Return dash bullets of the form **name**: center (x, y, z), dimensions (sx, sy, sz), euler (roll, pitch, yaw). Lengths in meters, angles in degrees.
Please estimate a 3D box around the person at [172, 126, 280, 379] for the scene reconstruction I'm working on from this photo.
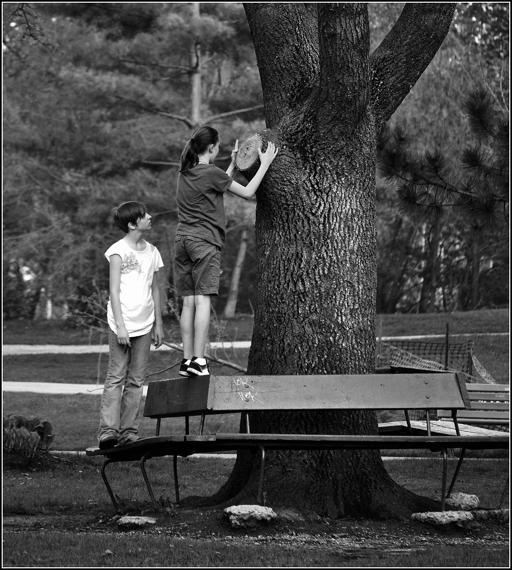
- **person**: center (-0.309, -0.290, 10.206), dimensions (0.666, 1.899, 0.799), euler (-1, 9, -4)

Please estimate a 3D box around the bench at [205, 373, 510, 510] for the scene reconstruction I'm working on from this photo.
- **bench**: center (0.804, 1.220, 10.643), dimensions (2.535, 1.372, 1.613), euler (-2, 10, -5)

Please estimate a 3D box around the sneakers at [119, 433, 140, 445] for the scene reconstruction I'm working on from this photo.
- **sneakers**: center (-0.998, 1.247, 10.252), dimensions (0.144, 0.098, 0.129), euler (1, -29, -30)

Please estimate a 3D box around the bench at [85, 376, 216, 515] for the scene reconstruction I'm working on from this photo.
- **bench**: center (-0.790, 1.276, 10.067), dimensions (0.574, 1.095, 1.279), euler (4, -9, -29)
